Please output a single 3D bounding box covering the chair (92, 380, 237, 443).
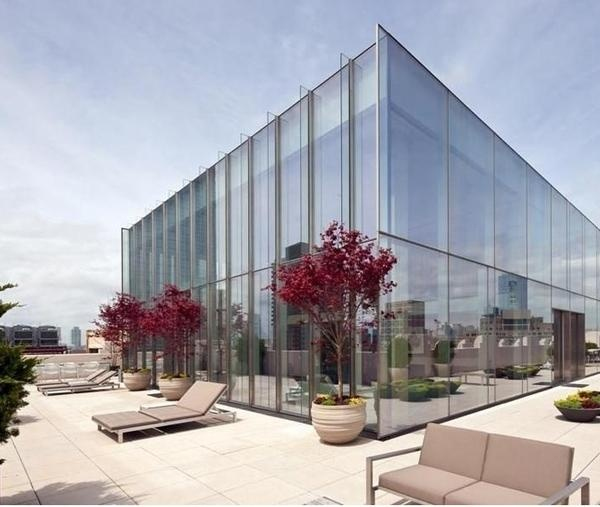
[{"bbox_3d":[-3.330,3.977,11.639,3.286,1.038,1.638,7,-13,-40],"label":"chair"}]
